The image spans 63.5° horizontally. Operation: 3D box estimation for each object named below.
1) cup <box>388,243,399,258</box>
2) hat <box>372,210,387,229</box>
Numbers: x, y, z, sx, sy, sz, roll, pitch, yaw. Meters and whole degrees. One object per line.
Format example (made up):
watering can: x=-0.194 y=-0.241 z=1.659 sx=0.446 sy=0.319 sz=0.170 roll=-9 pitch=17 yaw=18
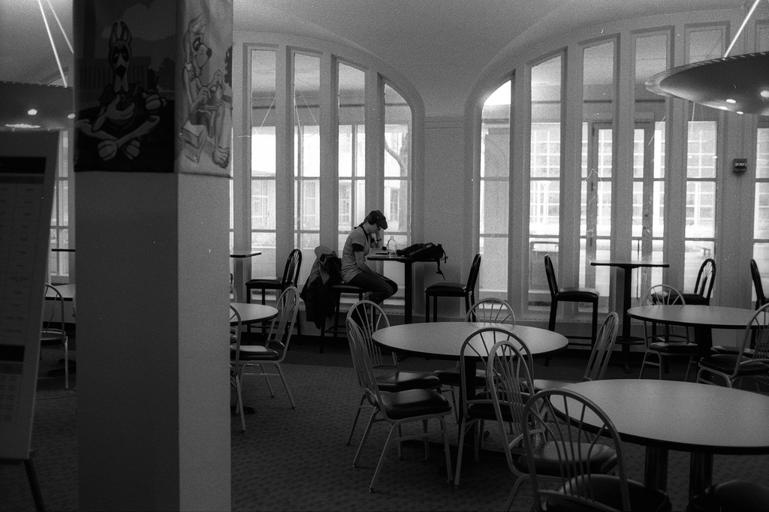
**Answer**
cup: x=0.108 y=-0.067 z=8.789 sx=0.145 sy=0.148 sz=0.268 roll=-1 pitch=17 yaw=0
hat: x=-0.061 y=-0.486 z=8.302 sx=0.183 sy=0.251 sz=0.082 roll=-6 pitch=1 yaw=22
